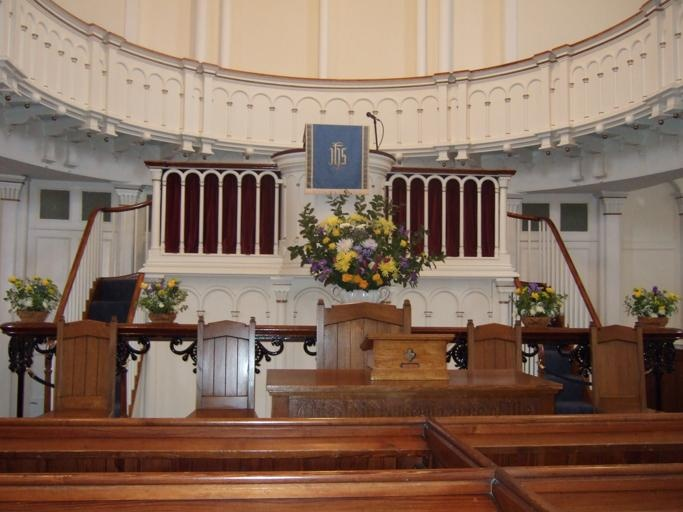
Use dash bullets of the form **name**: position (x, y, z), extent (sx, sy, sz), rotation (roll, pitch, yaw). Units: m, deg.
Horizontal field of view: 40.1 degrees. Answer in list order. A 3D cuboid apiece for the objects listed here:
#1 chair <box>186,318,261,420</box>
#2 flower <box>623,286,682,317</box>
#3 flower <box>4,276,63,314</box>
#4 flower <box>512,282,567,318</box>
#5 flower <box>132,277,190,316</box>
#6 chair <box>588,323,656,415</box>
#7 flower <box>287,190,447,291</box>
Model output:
- **chair**: position (-1.433, 1.344, 11.259), extent (1.109, 1.196, 1.161), rotation (-1, -6, 22)
- **flower**: position (4.649, 0.714, 14.155), extent (0.795, 0.574, 0.818), rotation (1, -1, -4)
- **flower**: position (-4.246, 0.536, 12.920), extent (0.783, 0.566, 0.800), rotation (2, -5, -10)
- **flower**: position (2.775, 0.620, 13.376), extent (0.774, 0.534, 0.694), rotation (-5, -6, 39)
- **flower**: position (-2.434, 0.570, 12.910), extent (0.586, 0.448, 0.547), rotation (1, 0, 6)
- **chair**: position (3.489, 1.414, 11.817), extent (0.709, 1.089, 0.379), rotation (0, -6, 5)
- **flower**: position (0.277, -0.061, 11.961), extent (1.551, 1.136, 1.502), rotation (1, 3, 4)
